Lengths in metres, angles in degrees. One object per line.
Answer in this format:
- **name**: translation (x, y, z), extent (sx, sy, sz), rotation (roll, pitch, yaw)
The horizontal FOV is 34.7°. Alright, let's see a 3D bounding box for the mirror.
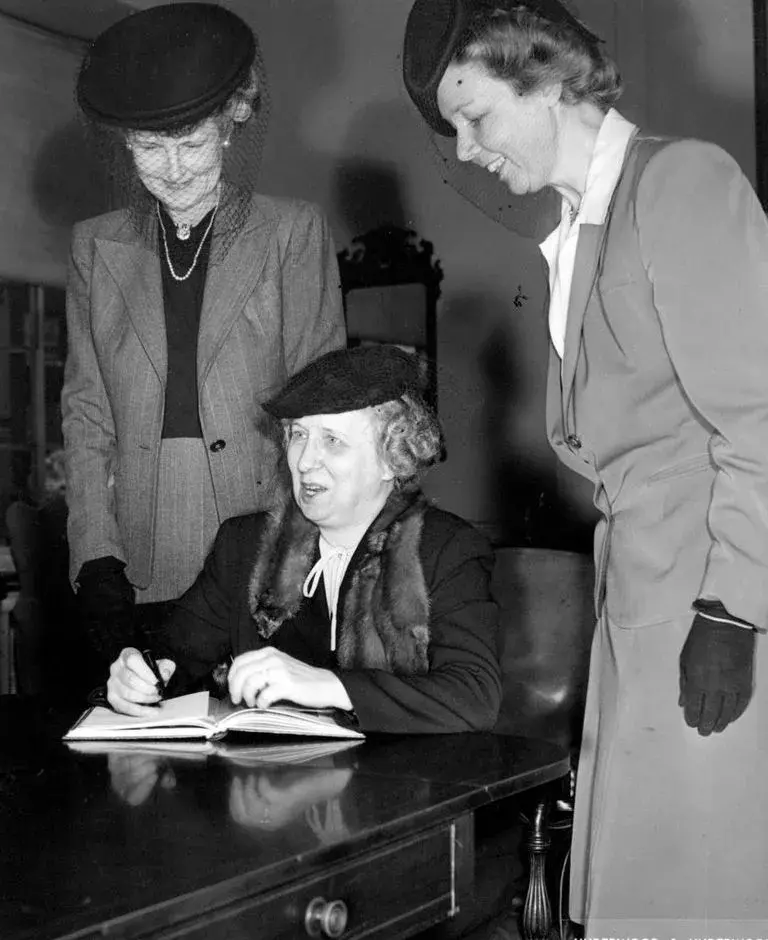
- **mirror**: translation (0.008, -0.400, 3.909), extent (0.407, 0.681, 0.037), rotation (2, 12, 13)

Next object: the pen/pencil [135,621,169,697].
- **pen/pencil**: translation (-0.322, 0.264, 1.705), extent (0.017, 0.083, 0.014), rotation (-13, -30, -19)

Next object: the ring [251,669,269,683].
- **ring**: translation (-0.148, 0.251, 1.483), extent (0.015, 0.015, 0.007), rotation (-2, 5, -8)

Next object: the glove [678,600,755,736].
- **glove**: translation (0.326, 0.194, 1.197), extent (0.072, 0.134, 0.053), rotation (0, 5, 12)

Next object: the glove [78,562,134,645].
- **glove**: translation (-0.430, 0.211, 1.900), extent (0.085, 0.133, 0.042), rotation (-14, -29, -5)

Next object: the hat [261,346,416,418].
- **hat**: translation (-0.066, -0.126, 1.840), extent (0.153, 0.042, 0.146), rotation (-14, 7, 17)
